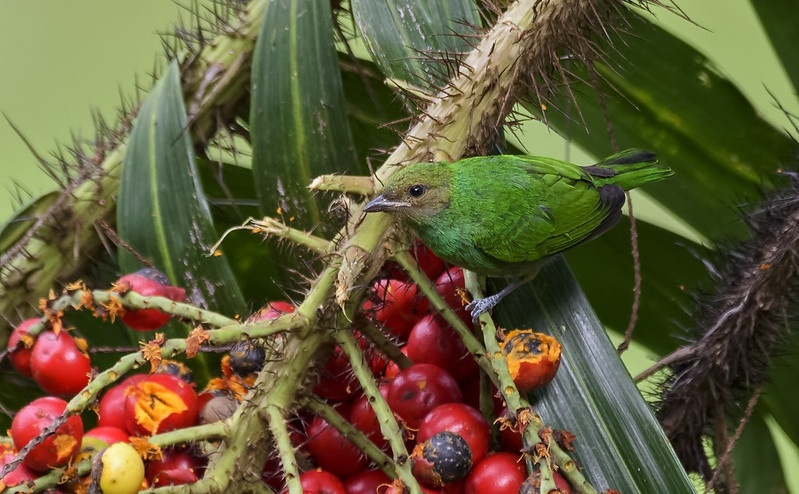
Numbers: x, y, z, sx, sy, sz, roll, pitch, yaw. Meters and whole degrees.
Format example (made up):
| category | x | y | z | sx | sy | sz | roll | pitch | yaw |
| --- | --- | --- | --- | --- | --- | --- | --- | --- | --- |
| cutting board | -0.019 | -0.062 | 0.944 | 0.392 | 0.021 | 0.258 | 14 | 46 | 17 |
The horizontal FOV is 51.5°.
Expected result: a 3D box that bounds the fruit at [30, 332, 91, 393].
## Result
| category | x | y | z | sx | sy | sz | roll | pitch | yaw |
| --- | --- | --- | --- | --- | --- | --- | --- | --- | --- |
| fruit | -0.561 | 0.193 | 1.360 | 0.091 | 0.108 | 0.046 | -17 | -15 | 6 |
